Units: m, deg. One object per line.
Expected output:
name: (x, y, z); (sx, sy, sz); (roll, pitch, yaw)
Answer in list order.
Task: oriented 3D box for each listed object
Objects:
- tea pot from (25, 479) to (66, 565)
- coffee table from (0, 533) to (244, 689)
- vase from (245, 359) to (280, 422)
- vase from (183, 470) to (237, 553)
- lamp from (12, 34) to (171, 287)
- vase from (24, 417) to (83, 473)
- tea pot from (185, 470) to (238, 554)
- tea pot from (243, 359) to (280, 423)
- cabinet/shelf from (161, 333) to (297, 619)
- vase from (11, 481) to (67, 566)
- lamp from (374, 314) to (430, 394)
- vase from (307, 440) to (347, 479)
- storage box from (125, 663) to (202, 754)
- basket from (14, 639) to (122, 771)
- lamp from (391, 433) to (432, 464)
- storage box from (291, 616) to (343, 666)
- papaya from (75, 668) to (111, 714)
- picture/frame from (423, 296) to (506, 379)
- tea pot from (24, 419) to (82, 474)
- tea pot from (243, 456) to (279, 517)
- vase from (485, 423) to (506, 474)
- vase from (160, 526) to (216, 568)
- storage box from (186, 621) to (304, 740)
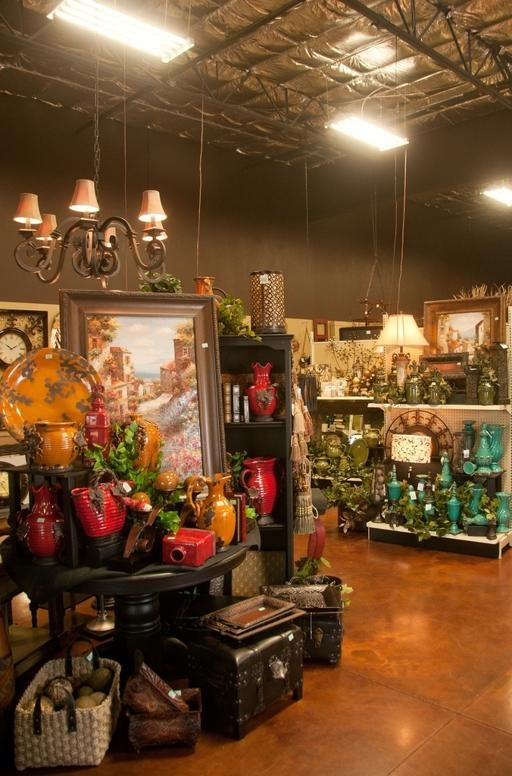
tea pot: (-0.766, 0.478, 2.014); (0.211, 0.264, 0.112); (-2, -3, 37)
coffee table: (-0.493, 0.791, 2.118); (0.706, 0.474, 0.716); (0, 3, 11)
vase: (0.035, 0.020, 3.247); (0.183, 0.326, 0.191); (3, 6, 35)
vase: (-0.187, 0.503, 2.316); (0.211, 0.302, 0.177); (-5, 8, -26)
lamp: (-1.129, -1.309, 3.940); (1.114, 1.031, 1.022); (-5, 6, -35)
vase: (-0.743, 0.210, 2.064); (0.198, 0.169, 0.175); (-4, 6, -37)
tea pot: (-0.187, 0.510, 2.314); (0.219, 0.308, 0.181); (-4, 9, -31)
tea pot: (0.041, 0.038, 3.257); (0.212, 0.340, 0.207); (-6, -10, -1)
cabinet/shelf: (0.030, 0.544, 3.285); (0.421, 1.708, 0.239); (-3, 7, 2)
vase: (-0.752, 0.467, 1.985); (0.235, 0.293, 0.238); (-1, -1, 3)
lamp: (1.395, -0.321, 5.341); (0.501, 0.782, 0.520); (3, -5, -13)
vase: (0.783, 0.777, 6.214); (0.454, 0.466, 0.341); (-5, -13, 8)
storage box: (-0.327, 1.124, 2.090); (0.328, 0.326, 0.246); (-2, 0, -7)
basket: (-0.638, 1.089, 1.942); (0.244, 0.230, 0.346); (0, -4, -1)
lamp: (1.425, 0.535, 5.169); (0.276, 0.183, 0.283); (1, 3, 14)
storage box: (0.314, 1.183, 2.761); (0.237, 0.234, 0.241); (-1, 2, 15)
papaya: (-0.569, 1.068, 1.972); (0.067, 0.067, 0.136); (-40, 8, 34)
picture/frame: (2.018, -0.470, 5.367); (0.823, 0.822, 0.138); (-1, -4, 30)
tea pot: (-0.714, 0.199, 2.020); (0.161, 0.157, 0.189); (-2, 1, 31)
tea pot: (0.022, 0.576, 3.194); (0.294, 0.349, 0.123); (2, -3, -39)
vase: (2.110, 0.525, 4.910); (0.243, 0.405, 0.130); (2, -3, -34)
vase: (-0.241, 0.579, 2.064); (0.111, 0.075, 0.142); (3, 4, 20)
storage box: (-0.017, 1.123, 2.222); (0.278, 0.308, 0.406); (-4, -4, 43)
